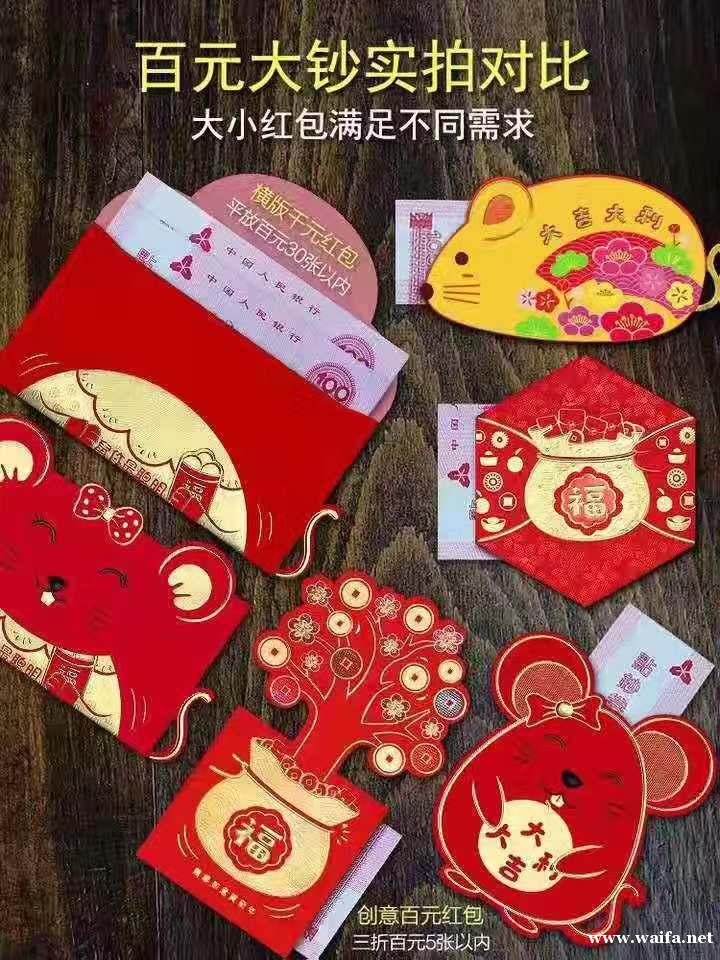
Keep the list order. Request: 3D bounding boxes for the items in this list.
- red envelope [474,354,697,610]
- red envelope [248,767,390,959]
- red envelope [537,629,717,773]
[{"bbox_3d":[0.249,0.015,1.049,0.300,0.005,0.316,-2,86,-2],"label":"red envelope"},{"bbox_3d":[-0.086,0.398,1.030,0.145,0.065,0.186,29,73,15],"label":"red envelope"},{"bbox_3d":[0.296,0.225,0.988,0.192,0.014,0.132,37,91,5],"label":"red envelope"}]
